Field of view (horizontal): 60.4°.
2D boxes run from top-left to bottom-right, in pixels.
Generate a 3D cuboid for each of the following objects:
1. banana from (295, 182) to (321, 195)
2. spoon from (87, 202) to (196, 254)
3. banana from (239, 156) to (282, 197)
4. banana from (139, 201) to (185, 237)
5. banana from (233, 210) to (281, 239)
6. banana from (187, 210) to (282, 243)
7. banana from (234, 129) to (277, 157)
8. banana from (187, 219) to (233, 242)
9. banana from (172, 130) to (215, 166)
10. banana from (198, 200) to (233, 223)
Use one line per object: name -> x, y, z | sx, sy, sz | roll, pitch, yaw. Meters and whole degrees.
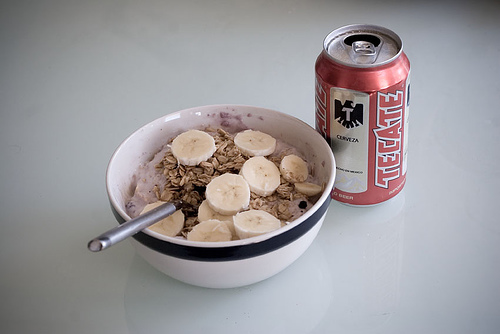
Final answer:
banana -> 0.181, 0.064, 1.261 | 0.048, 0.015, 0.039 | 6, 28, -2
spoon -> -0.270, 0.139, 1.108 | 0.124, 0.037, 0.357 | 13, 18, 27
banana -> 0.037, 0.029, 1.277 | 0.118, 0.118, 0.071 | -1, -1, -3
banana -> -0.218, 0.158, 1.229 | 0.106, 0.022, 0.098 | 5, 46, 3
banana -> 0.007, 0.148, 1.171 | 0.127, 0.030, 0.111 | -12, 42, -21
banana -> -0.039, 0.160, 1.146 | 0.172, 0.025, 0.099 | -16, 34, -12
banana -> 0.025, -0.076, 1.397 | 0.122, 0.029, 0.122 | 11, 11, 14
banana -> -0.108, 0.169, 1.143 | 0.114, 0.051, 0.044 | 0, -1, -5
banana -> -0.174, -0.059, 1.324 | 0.127, 0.111, 0.078 | 0, -1, -10
banana -> -0.105, 0.126, 1.199 | 0.069, 0.064, 0.016 | 10, -25, 4
